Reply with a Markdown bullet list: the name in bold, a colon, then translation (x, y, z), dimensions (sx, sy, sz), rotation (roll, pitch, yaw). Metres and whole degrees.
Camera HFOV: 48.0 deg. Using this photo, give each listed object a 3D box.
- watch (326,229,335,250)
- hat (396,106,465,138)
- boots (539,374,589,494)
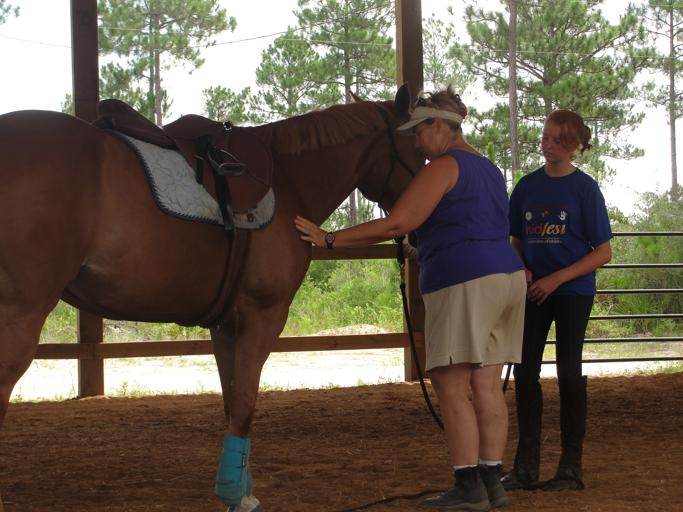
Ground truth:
- **watch**: translation (-0.063, -0.088, 4.129), dimensions (0.048, 0.085, 0.073), rotation (1, 1, -2)
- **hat**: translation (0.491, -0.726, 4.226), dimensions (0.245, 0.095, 0.163), rotation (-2, 1, -4)
- **boots**: translation (1.312, 1.033, 4.521), dimensions (0.237, 0.648, 0.201), rotation (1, 4, 21)
